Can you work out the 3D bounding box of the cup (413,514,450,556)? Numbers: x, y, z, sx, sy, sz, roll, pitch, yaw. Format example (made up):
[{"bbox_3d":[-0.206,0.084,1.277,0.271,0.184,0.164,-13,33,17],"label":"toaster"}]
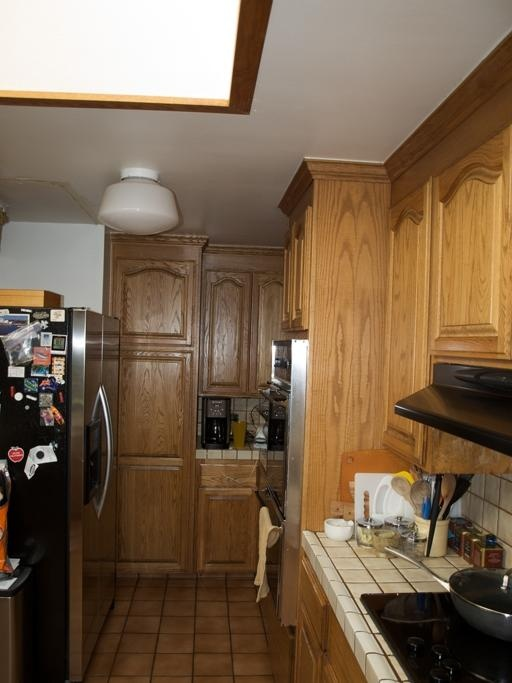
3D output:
[{"bbox_3d":[0.621,0.653,1.800,0.119,0.141,0.123,1,5,0],"label":"cup"}]

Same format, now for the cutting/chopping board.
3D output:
[{"bbox_3d":[0.562,0.595,1.899,0.327,0.259,0.050,3,7,28],"label":"cutting/chopping board"}]

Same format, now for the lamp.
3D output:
[{"bbox_3d":[-0.505,-0.572,2.223,0.335,0.268,0.348,-12,-6,-13],"label":"lamp"}]

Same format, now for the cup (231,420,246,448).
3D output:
[{"bbox_3d":[-0.126,0.669,3.679,0.143,0.242,0.151,0,-7,0],"label":"cup"}]

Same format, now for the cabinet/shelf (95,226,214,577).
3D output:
[{"bbox_3d":[-0.735,0.428,3.615,0.630,2.193,0.409,0,-9,-5],"label":"cabinet/shelf"}]

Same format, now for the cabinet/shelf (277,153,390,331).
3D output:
[{"bbox_3d":[0.256,-0.232,2.369,0.463,0.961,0.953,2,1,-1],"label":"cabinet/shelf"}]
